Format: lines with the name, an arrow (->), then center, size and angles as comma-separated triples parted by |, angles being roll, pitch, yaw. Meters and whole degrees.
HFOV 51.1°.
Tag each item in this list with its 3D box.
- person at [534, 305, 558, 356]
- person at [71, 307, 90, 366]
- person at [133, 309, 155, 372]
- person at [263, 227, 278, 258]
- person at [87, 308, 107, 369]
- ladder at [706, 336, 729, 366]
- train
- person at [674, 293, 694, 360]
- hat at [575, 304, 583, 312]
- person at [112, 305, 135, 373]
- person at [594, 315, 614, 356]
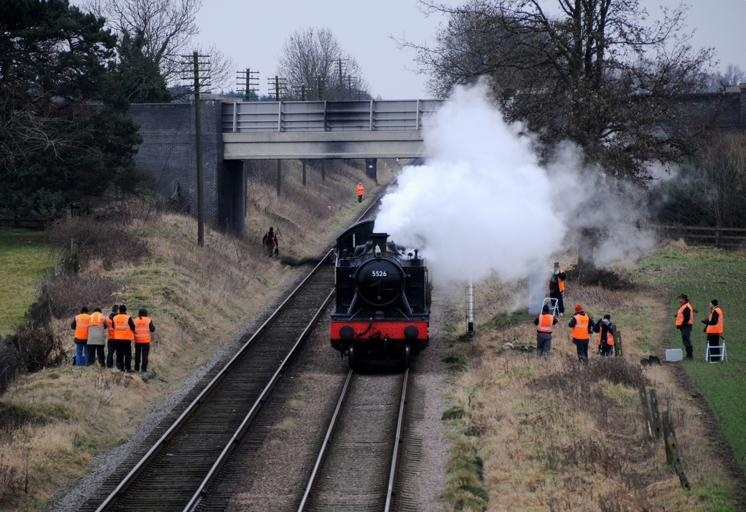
person -> 5.946, 2.492, 27.018 | 0.614, 1.774, 1.108 | 1, 5, 13
person -> -10.015, 2.719, 26.876 | 0.792, 2.003, 0.441 | 1, 4, 13
person -> -7.941, 2.891, 27.123 | 0.621, 2.254, 1.005 | -2, 5, -21
person -> -5.578, -0.813, 42.988 | 0.804, 1.568, 1.722 | -1, 5, -8
person -> -9.411, 2.742, 26.897 | 0.692, 1.944, 0.737 | 1, 5, 11
ladder -> 12.091, 3.333, 27.523 | 0.716, 1.313, 0.920 | 0, -3, 1
train -> 0.186, 1.532, 26.372 | 2.121, 3.273, 6.054 | 0, 4, 1
person -> 11.119, 2.417, 27.803 | 0.569, 2.265, 1.546 | 2, 5, 23
hat -> 7.034, 1.748, 26.556 | 0.227, 0.307, 0.349 | -2, -1, 0
person -> -8.509, 2.901, 26.804 | 0.758, 2.088, 0.490 | 1, 4, 7
person -> 8.078, 2.662, 27.177 | 0.640, 1.595, 1.419 | 1, 5, 18
